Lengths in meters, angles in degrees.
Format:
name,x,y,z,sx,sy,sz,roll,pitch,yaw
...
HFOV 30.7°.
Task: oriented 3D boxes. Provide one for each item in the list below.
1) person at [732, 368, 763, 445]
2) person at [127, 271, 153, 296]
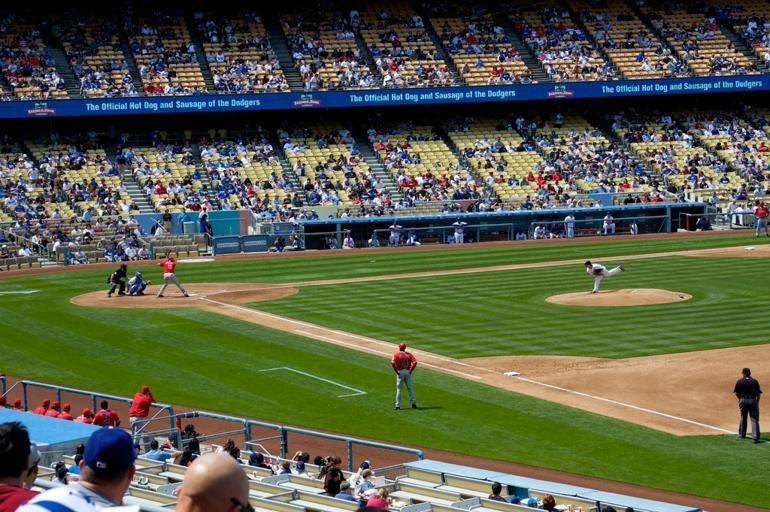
name,x,y,z,sx,sy,sz,roll,pitch,yaw
person,14.785,5.923,57.147,1.080,2.920,1.541,2,13,14
person,-13.093,1.307,75.447,0.883,1.291,1.225,3,13,19
